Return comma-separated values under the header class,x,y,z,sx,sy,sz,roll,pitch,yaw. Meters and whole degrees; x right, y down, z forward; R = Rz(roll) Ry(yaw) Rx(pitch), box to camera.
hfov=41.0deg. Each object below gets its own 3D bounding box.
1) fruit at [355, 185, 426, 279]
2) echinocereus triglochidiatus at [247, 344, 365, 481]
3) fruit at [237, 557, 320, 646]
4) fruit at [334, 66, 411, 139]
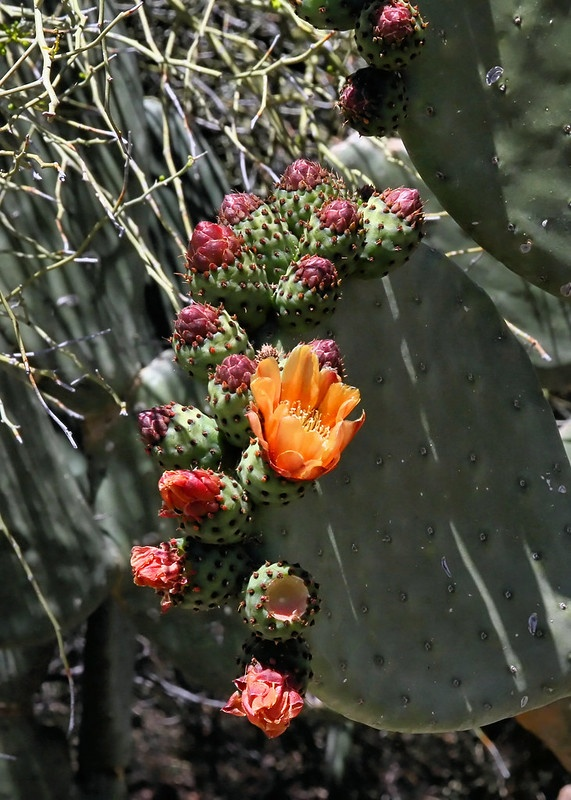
class,x,y,z,sx,sy,sz,roll,pitch,yaw
fruit,0.107,-0.173,0.820,0.069,0.096,0.081,8,35,32
echinocereus triglochidiatus,0.011,0.021,0.680,0.122,0.090,0.115,3,19,7
fruit,-0.010,0.181,0.709,0.077,0.069,0.072,-7,-8,-5
fruit,0.087,-0.304,0.780,0.070,0.061,0.074,-1,-4,-1
